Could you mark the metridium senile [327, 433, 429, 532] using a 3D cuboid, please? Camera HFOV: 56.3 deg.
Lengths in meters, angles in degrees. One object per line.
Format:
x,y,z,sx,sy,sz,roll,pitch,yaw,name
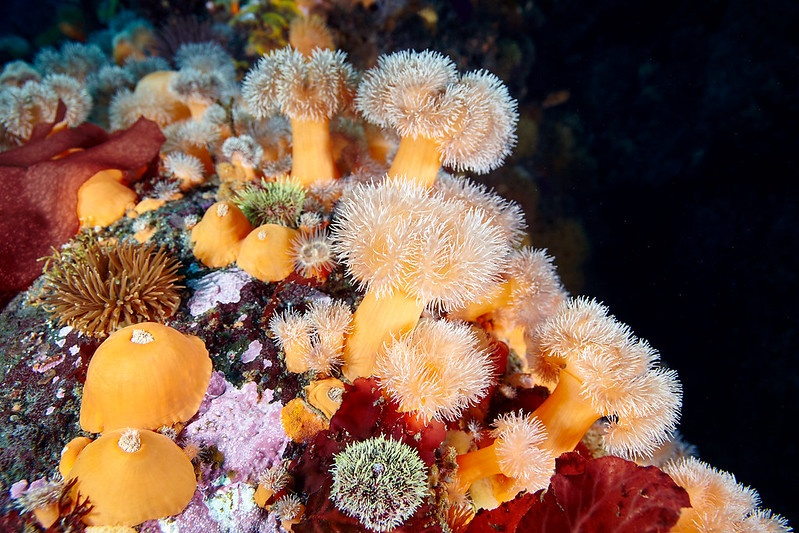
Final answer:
-0.109,1.270,4.373,0.490,0.314,0.550,-19,74,-10,metridium senile
